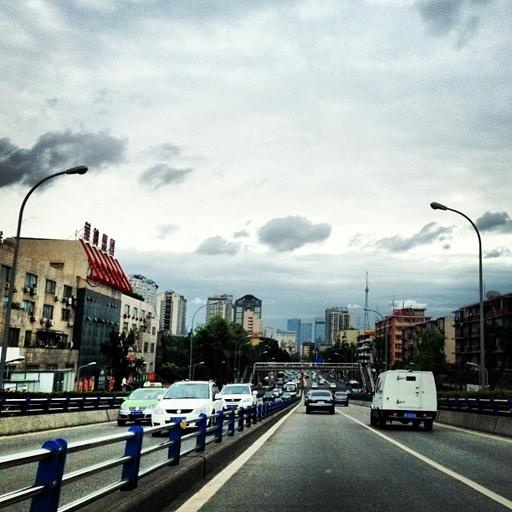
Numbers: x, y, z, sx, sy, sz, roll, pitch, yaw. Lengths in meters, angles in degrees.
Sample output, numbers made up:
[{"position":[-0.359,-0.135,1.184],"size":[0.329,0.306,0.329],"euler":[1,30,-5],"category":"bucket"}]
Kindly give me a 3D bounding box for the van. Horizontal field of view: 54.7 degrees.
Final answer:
[{"position":[6.332,6.336,21.524],"size":[2.487,2.207,4.004],"euler":[2,-17,3],"category":"van"}]
